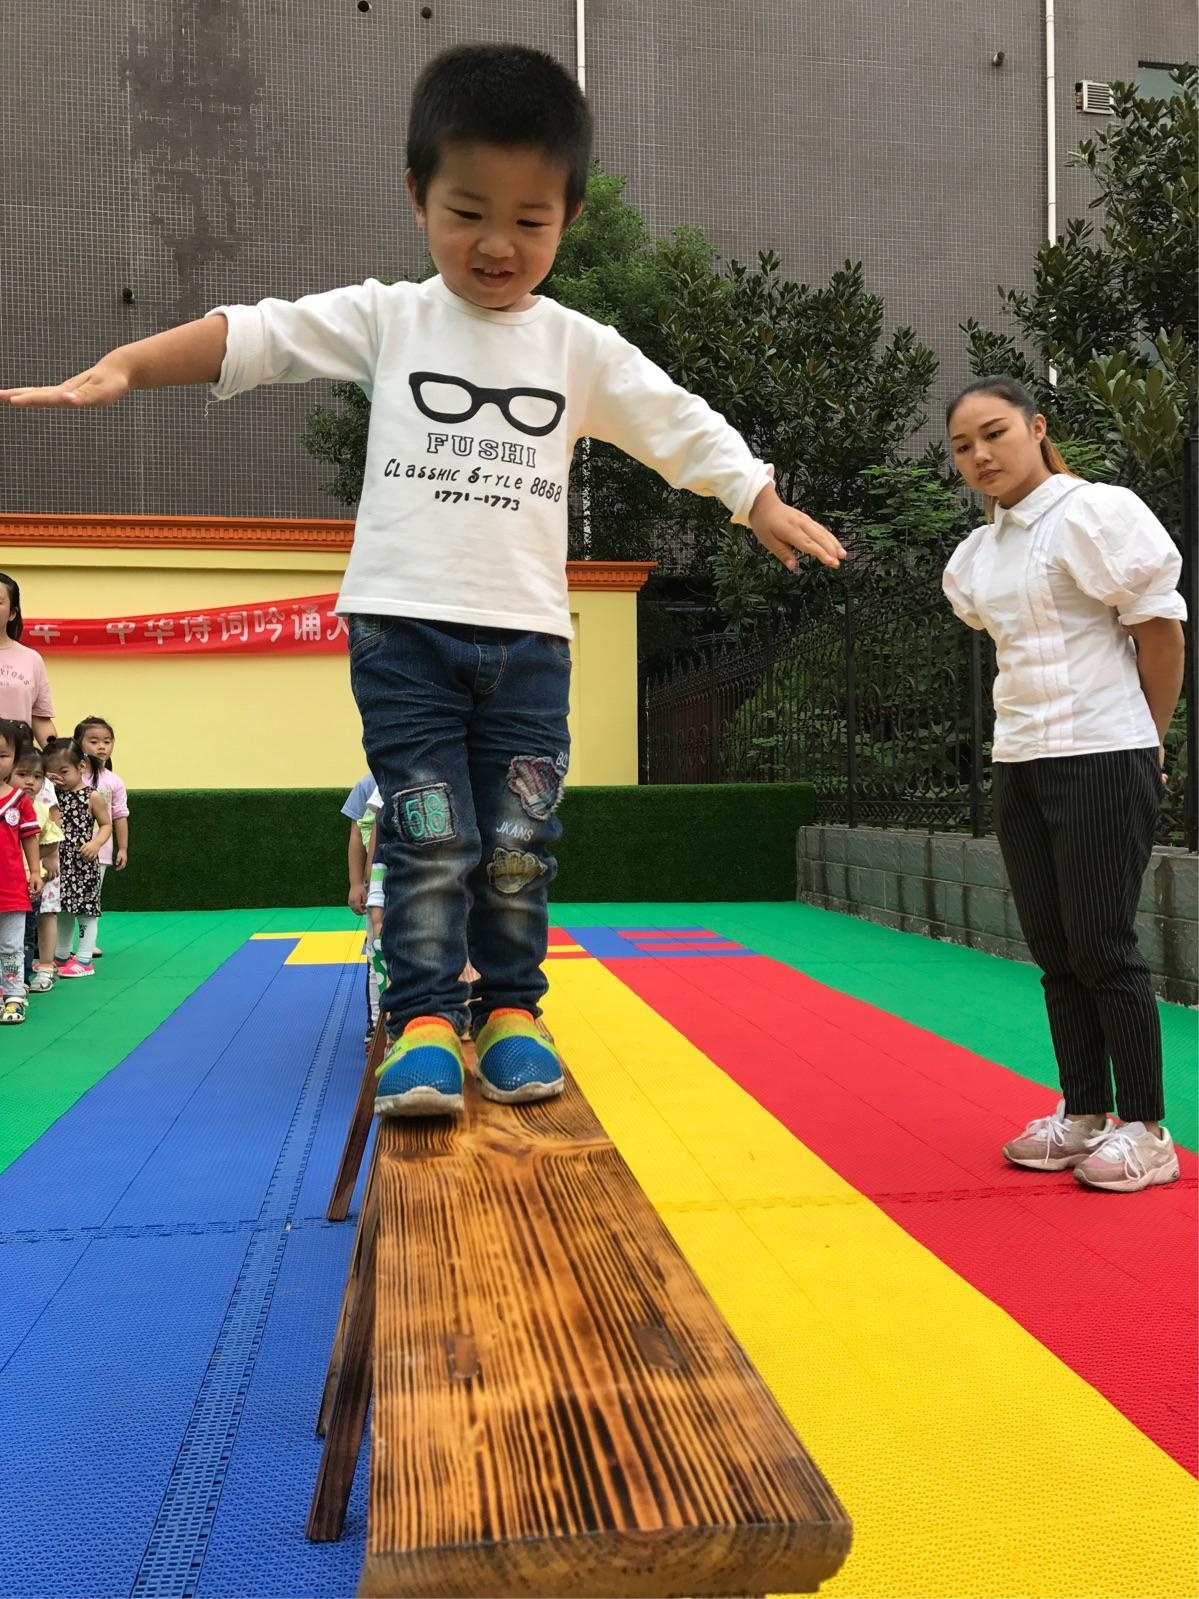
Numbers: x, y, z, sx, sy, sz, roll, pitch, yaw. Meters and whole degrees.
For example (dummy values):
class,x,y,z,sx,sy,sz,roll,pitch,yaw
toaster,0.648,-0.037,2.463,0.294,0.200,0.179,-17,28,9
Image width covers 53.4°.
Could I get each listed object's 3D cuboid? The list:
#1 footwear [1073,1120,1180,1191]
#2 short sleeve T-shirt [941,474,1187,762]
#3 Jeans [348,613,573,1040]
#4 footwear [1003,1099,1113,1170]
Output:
class,x,y,z,sx,sy,sz,roll,pitch,yaw
footwear,1.122,0.754,2.522,0.250,0.113,0.109,8,-13,-40
short sleeve T-shirt,1.009,-0.384,2.555,0.211,0.631,0.412,-1,0,-23
Jeans,-0.206,0.039,1.772,0.339,0.637,0.217,5,-18,-22
footwear,1.027,0.754,2.687,0.260,0.117,0.106,-1,3,-11
